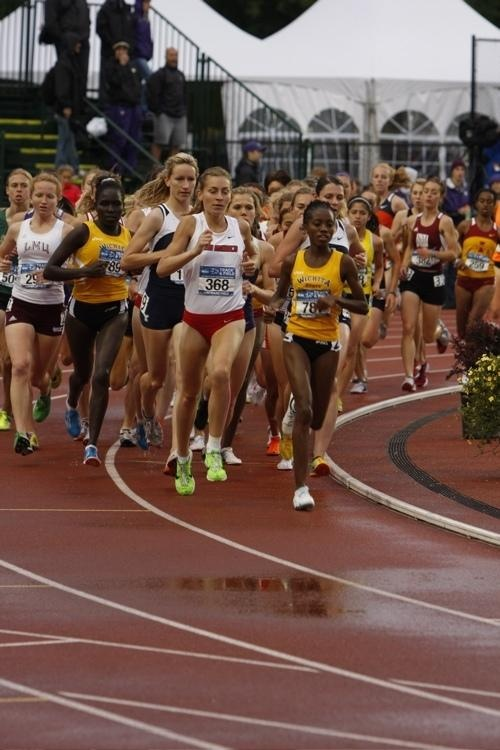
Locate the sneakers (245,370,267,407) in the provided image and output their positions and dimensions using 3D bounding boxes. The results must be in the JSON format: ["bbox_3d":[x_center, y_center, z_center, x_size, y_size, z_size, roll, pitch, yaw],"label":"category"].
[{"bbox_3d":[0.092,0.197,10.229,0.192,0.224,0.549,21,15,-16],"label":"sneakers"}]

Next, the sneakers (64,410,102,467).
[{"bbox_3d":[-1.469,0.557,7.045,0.200,0.251,0.619,-9,37,-13],"label":"sneakers"}]

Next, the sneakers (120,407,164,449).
[{"bbox_3d":[-1.021,0.534,7.489,0.218,0.245,0.612,1,3,-12],"label":"sneakers"}]

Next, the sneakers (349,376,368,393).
[{"bbox_3d":[1.518,0.121,11.173,0.263,0.248,0.649,-1,-1,11],"label":"sneakers"}]

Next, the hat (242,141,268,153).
[{"bbox_3d":[0.064,-4.677,16.233,0.578,0.288,0.398,6,18,3],"label":"hat"}]

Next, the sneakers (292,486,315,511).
[{"bbox_3d":[0.345,0.811,5.199,0.119,0.183,0.257,0,0,5],"label":"sneakers"}]
